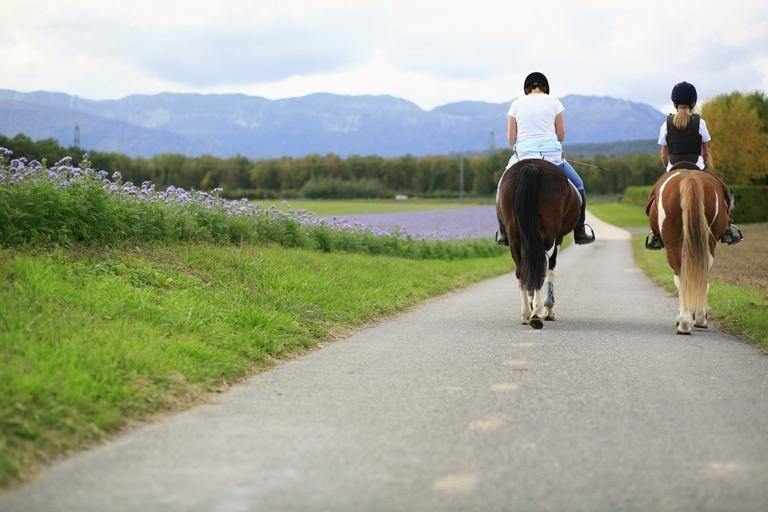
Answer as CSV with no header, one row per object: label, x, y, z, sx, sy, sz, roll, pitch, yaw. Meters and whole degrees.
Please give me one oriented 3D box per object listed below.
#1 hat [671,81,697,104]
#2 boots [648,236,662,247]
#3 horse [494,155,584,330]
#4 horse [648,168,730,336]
hat,4.873,-2.619,13.907,0.341,0.380,0.239,3,14,17
boots,4.531,-0.219,14.304,0.138,0.243,0.448,1,4,8
horse,2.386,-0.158,13.705,0.941,2.680,1.532,7,16,33
horse,4.635,-0.036,13.126,1.143,2.395,1.783,3,14,17
